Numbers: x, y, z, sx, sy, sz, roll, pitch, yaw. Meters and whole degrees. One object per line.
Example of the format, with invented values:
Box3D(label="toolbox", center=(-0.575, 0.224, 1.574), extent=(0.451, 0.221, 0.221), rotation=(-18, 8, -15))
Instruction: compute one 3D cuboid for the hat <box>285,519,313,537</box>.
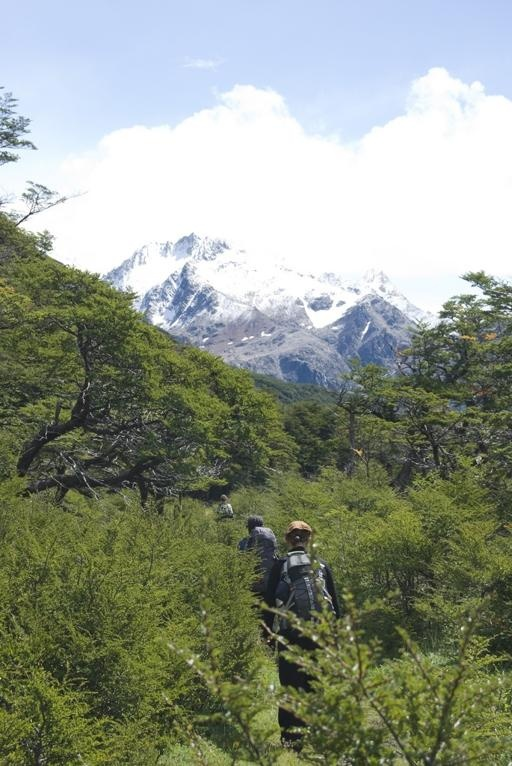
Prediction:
Box3D(label="hat", center=(0.420, 1.357, 8.573), extent=(0.229, 0.108, 0.307), rotation=(1, -10, 4))

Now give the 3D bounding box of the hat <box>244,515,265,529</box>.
Box3D(label="hat", center=(-0.002, 1.745, 11.318), extent=(0.185, 0.170, 0.150), rotation=(-13, 6, -22))
